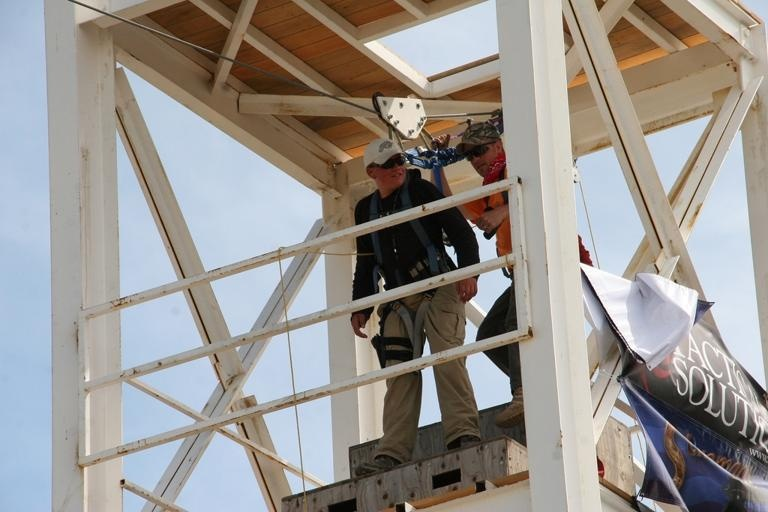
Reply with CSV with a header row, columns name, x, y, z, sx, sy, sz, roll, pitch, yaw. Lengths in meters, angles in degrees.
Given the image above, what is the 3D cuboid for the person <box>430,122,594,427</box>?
name,x,y,z,sx,sy,sz,roll,pitch,yaw
person,1.197,0.128,13.738,1.373,3.076,0.849,-13,-22,24

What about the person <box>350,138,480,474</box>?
name,x,y,z,sx,sy,sz,roll,pitch,yaw
person,0.261,0.446,13.186,1.131,3.051,1.090,-10,-30,5

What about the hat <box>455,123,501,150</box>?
name,x,y,z,sx,sy,sz,roll,pitch,yaw
hat,0.909,-1.156,13.922,0.312,0.180,0.231,-9,-15,-38

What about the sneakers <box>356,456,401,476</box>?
name,x,y,z,sx,sy,sz,roll,pitch,yaw
sneakers,-0.039,1.814,12.544,0.267,0.205,0.098,5,-42,-19

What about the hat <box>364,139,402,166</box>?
name,x,y,z,sx,sy,sz,roll,pitch,yaw
hat,-0.019,-0.942,13.388,0.292,0.176,0.219,-18,0,44
